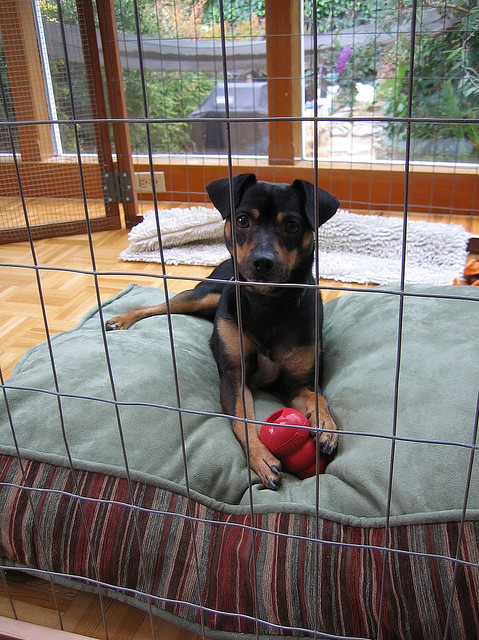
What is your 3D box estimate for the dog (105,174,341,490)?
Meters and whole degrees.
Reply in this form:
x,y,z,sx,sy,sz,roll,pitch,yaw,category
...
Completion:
x,y,z,sx,sy,sz,roll,pitch,yaw,category
-0.093,-0.094,1.976,0.820,0.928,1.536,-1,18,-15,dog
